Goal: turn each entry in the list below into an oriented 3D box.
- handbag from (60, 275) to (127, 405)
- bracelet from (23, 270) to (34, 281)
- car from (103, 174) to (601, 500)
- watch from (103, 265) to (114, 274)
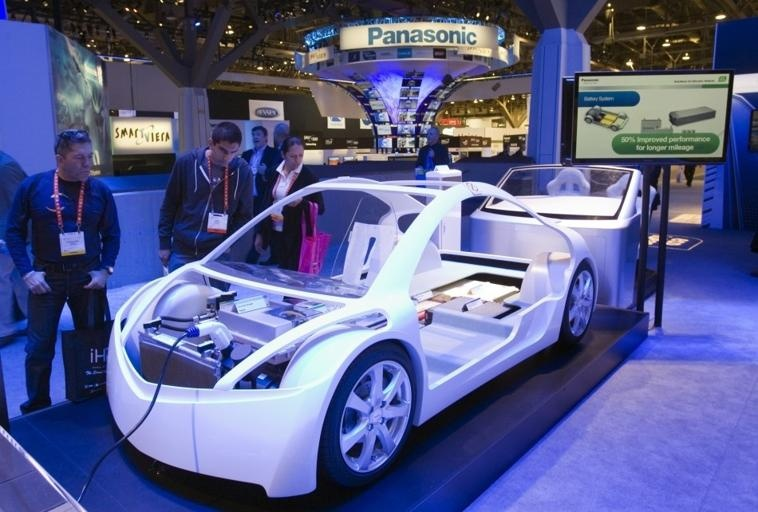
[{"bbox_3d":[-1.938,0.739,3.528,0.160,0.443,0.480,6,1,21],"label":"handbag"},{"bbox_3d":[-2.318,0.131,3.367,0.061,0.064,0.070,-7,13,-40],"label":"bracelet"},{"bbox_3d":[0.141,0.440,3.542,1.711,1.385,3.272,6,15,39],"label":"car"},{"bbox_3d":[-1.927,0.095,3.610,0.044,0.064,0.055,7,-28,-15],"label":"watch"}]
